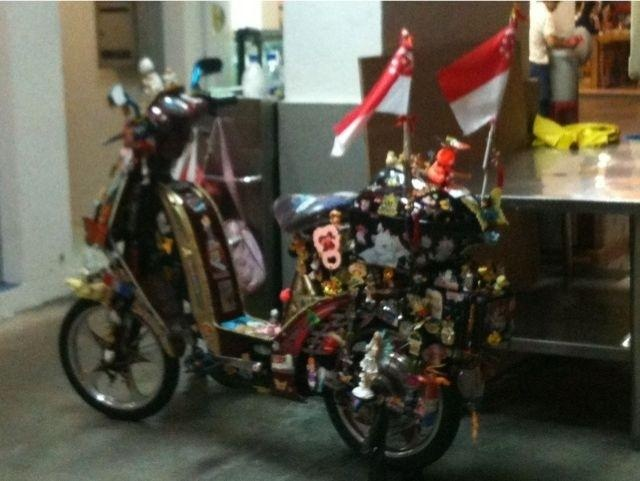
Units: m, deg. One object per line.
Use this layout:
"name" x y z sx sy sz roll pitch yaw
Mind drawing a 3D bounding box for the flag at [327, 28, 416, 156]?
"flag" 0.196 -0.538 2.492 0.314 0.462 0.212 -2 15 -3

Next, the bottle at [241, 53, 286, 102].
"bottle" -0.323 -0.943 3.944 0.171 0.324 0.356 9 13 34

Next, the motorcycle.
"motorcycle" -0.253 0.085 3.012 2.204 1.586 0.799 4 10 29

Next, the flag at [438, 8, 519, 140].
"flag" 0.576 -0.605 2.471 0.263 0.435 0.164 3 16 15

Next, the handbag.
"handbag" -0.418 0.081 3.593 0.128 0.353 0.266 -11 -2 23
